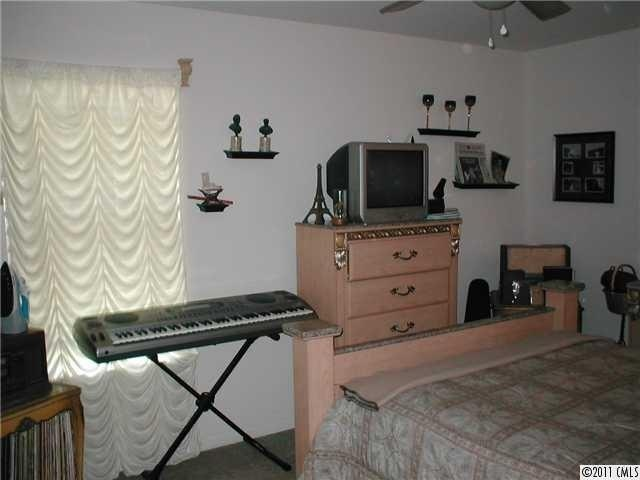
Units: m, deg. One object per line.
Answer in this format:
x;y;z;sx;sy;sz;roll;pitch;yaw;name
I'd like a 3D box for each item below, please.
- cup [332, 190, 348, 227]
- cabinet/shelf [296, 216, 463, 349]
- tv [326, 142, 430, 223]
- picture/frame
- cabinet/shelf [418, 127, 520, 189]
0.152;-0.241;3.825;0.103;0.251;0.177;0;5;4;cup
0.501;0.166;4.337;1.365;1.461;0.857;-5;8;-31;cabinet/shelf
0.432;-0.461;4.083;0.659;0.621;0.638;-4;6;-33;tv
2.538;-0.706;4.936;0.090;0.863;0.651;-6;8;-38;picture/frame
1.479;-0.773;5.038;1.105;0.543;0.152;-3;6;-28;cabinet/shelf
